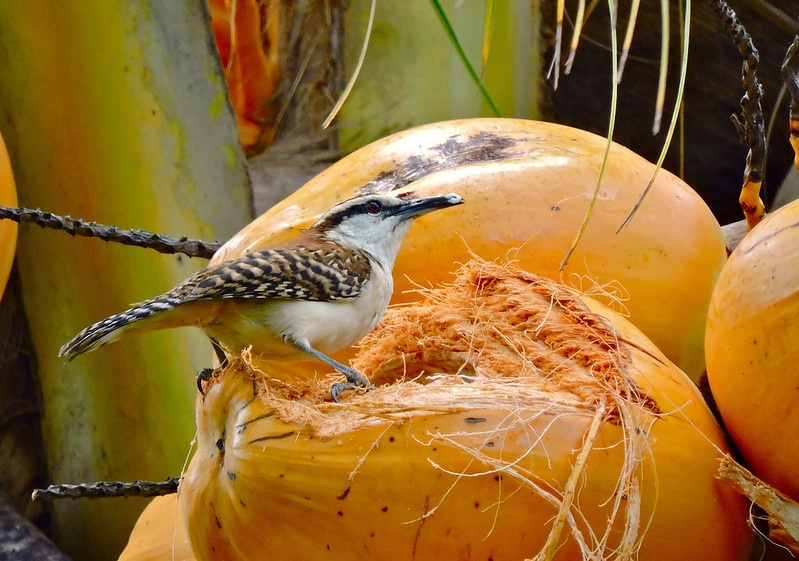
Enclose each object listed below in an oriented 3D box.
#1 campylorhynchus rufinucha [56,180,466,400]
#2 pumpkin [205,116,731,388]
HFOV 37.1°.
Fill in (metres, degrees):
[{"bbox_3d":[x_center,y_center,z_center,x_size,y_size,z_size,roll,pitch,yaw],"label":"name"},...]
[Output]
[{"bbox_3d":[-0.244,0.010,2.088,0.645,0.207,0.356,5,73,-17],"label":"campylorhynchus rufinucha"},{"bbox_3d":[0.114,-0.129,2.203,0.828,0.415,0.454,6,16,-3],"label":"pumpkin"}]
